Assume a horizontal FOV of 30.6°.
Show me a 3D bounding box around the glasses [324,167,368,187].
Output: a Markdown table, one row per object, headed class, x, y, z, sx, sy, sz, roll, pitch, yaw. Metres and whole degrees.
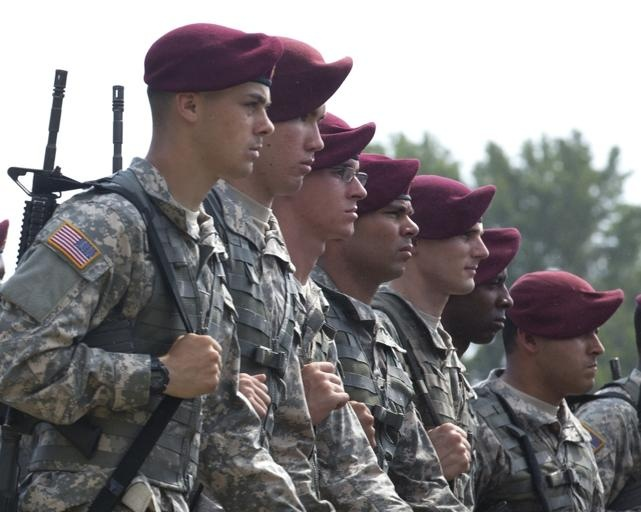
| class | x | y | z | sx | sy | sz | roll | pitch | yaw |
| --- | --- | --- | --- | --- | --- | --- | --- | --- | --- |
| glasses | 0.187 | -0.572 | 8.062 | 0.162 | 0.051 | 0.163 | -5 | -14 | 37 |
